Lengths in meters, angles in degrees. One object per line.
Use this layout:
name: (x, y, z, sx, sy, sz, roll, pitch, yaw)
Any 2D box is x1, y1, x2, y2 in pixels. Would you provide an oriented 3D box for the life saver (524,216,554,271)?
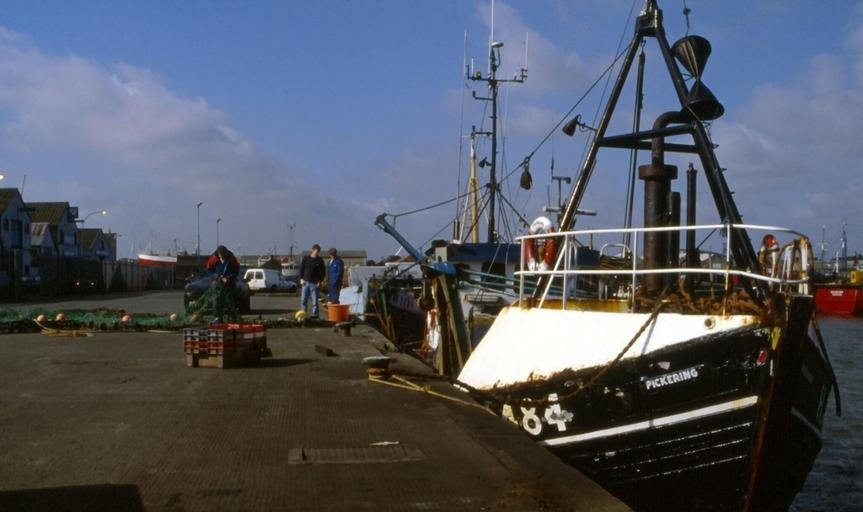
life saver: (1.655, -0.161, 12.839, 0.183, 0.751, 0.655, 9, 18, -26)

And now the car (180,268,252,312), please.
car: (-5.866, 1.000, 23.226, 1.384, 1.087, 2.961, 1, 7, -4)

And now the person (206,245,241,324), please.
person: (-4.505, 0.594, 18.351, 0.592, 1.548, 2.918, 0, -2, -14)

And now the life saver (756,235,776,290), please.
life saver: (4.592, -0.010, 11.487, 0.274, 0.624, 0.157, -7, 20, 2)

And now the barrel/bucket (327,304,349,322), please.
barrel/bucket: (-2.190, 1.379, 20.181, 0.486, 0.446, 0.858, 0, -2, -16)
